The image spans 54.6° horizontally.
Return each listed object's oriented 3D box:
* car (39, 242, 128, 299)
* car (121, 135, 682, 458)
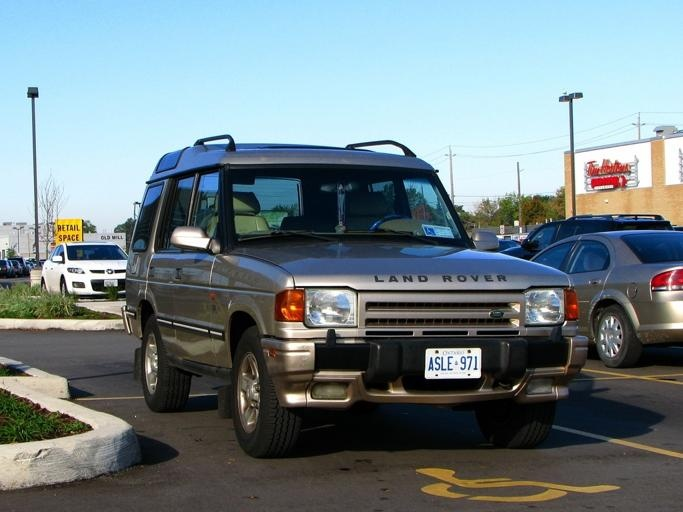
[{"bbox_3d":[-8.871,0.430,23.002,2.455,1.816,3.553,-2,2,-24],"label":"car"},{"bbox_3d":[-0.222,0.341,6.702,3.054,2.054,4.418,1,-2,-27],"label":"car"}]
